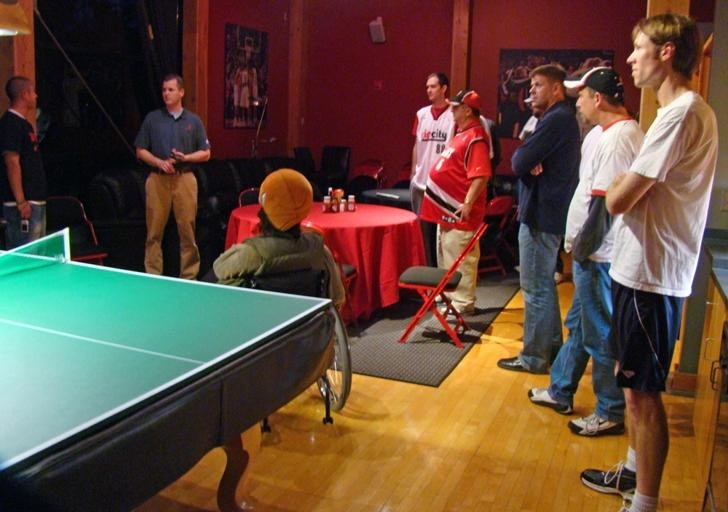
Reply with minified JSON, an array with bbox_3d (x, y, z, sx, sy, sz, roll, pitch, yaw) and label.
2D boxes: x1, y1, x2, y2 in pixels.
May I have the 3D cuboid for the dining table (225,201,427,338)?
[{"bbox_3d":[-0.196,0.087,3.793,0.830,0.505,0.875,1,10,3],"label":"dining table"}]

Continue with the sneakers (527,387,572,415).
[{"bbox_3d":[1.149,0.895,3.736,0.099,0.131,0.268,-13,24,-44],"label":"sneakers"}]

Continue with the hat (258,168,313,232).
[{"bbox_3d":[-0.395,-0.285,3.026,0.251,0.301,0.172,0,11,-12],"label":"hat"}]

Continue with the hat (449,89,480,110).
[{"bbox_3d":[0.818,-1.269,4.826,0.191,0.121,0.146,9,18,9],"label":"hat"}]

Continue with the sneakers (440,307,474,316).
[{"bbox_3d":[0.790,0.472,5.088,0.174,0.074,0.105,1,8,-6],"label":"sneakers"}]

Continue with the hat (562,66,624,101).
[{"bbox_3d":[1.219,-0.898,3.164,0.265,0.160,0.177,23,28,28],"label":"hat"}]

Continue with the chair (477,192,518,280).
[{"bbox_3d":[1.334,-0.300,6.506,0.455,0.803,0.538,-7,19,-44],"label":"chair"}]

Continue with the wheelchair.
[{"bbox_3d":[-0.336,0.592,3.389,0.469,0.748,0.662,1,6,12],"label":"wheelchair"}]

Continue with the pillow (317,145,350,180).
[{"bbox_3d":[-0.537,-1.557,9.829,0.505,0.636,0.576,7,13,16],"label":"pillow"}]

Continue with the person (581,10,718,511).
[{"bbox_3d":[1.243,0.115,2.624,0.398,2.253,0.404,8,12,30],"label":"person"}]

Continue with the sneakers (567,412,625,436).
[{"bbox_3d":[1.328,0.985,3.428,0.295,0.150,0.132,4,5,9],"label":"sneakers"}]

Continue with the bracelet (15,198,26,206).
[{"bbox_3d":[-2.659,-0.416,4.620,0.068,0.039,0.092,-5,14,-30],"label":"bracelet"}]

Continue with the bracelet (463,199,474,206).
[{"bbox_3d":[0.838,-0.434,4.789,0.076,0.048,0.028,2,11,-1],"label":"bracelet"}]

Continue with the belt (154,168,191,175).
[{"bbox_3d":[-1.808,-0.799,5.609,0.343,0.087,0.161,-2,13,-19],"label":"belt"}]

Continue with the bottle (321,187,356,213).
[{"bbox_3d":[-0.244,-0.495,5.400,0.248,0.270,0.264,8,14,32],"label":"bottle"}]

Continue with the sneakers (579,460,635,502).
[{"bbox_3d":[1.229,1.121,3.030,0.267,0.143,0.109,9,10,32],"label":"sneakers"}]

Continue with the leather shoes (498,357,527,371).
[{"bbox_3d":[1.059,0.759,4.253,0.192,0.090,0.074,9,19,28],"label":"leather shoes"}]
